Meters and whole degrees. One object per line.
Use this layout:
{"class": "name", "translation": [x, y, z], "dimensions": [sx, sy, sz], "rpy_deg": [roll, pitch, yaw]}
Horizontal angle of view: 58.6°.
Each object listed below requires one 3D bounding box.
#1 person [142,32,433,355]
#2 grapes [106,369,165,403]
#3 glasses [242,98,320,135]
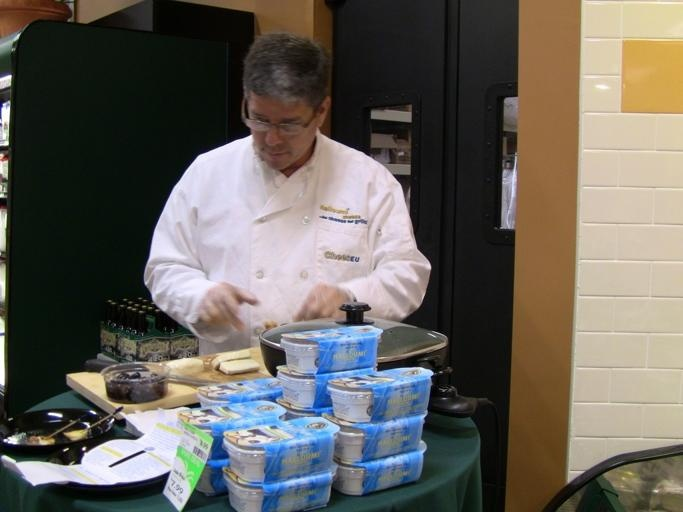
{"class": "person", "translation": [-0.246, -0.194, 2.272], "dimensions": [1.106, 1.195, 0.664], "rpy_deg": [-2, 6, 9]}
{"class": "grapes", "translation": [-0.646, 0.394, 1.867], "dimensions": [0.169, 0.065, 0.172], "rpy_deg": [6, 3, -20]}
{"class": "glasses", "translation": [-0.227, -0.467, 2.187], "dimensions": [0.262, 0.076, 0.122], "rpy_deg": [-3, 6, -3]}
